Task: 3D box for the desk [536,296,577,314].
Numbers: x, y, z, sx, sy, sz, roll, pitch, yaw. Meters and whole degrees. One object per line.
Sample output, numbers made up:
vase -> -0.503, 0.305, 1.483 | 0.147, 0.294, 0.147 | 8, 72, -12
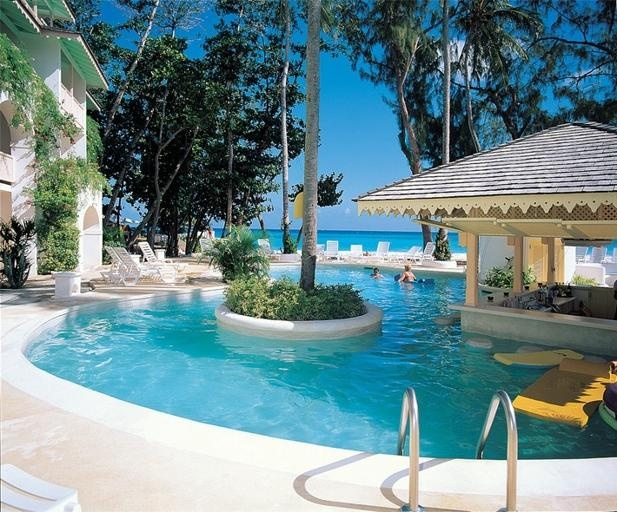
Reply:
desk -> 6.176, 1.286, 10.981 | 0.406, 0.424, 1.918 | 2, 2, 42
